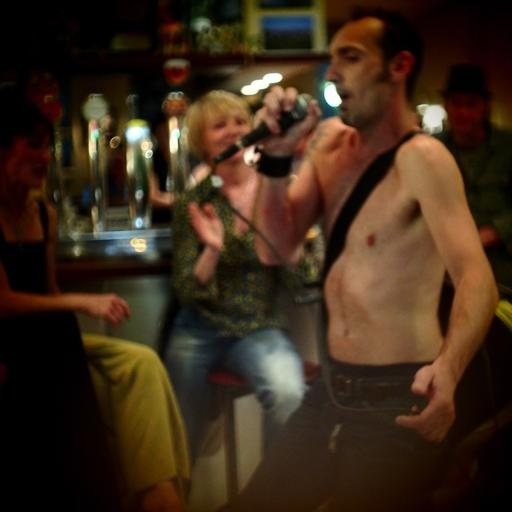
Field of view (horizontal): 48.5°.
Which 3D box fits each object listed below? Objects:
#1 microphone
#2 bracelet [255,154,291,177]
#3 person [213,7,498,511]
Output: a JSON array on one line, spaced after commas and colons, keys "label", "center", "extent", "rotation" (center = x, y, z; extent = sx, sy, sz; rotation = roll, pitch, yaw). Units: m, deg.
[{"label": "microphone", "center": [0.008, -0.198, 0.889], "extent": [0.155, 0.101, 0.081], "rotation": [-4, 15, -5]}, {"label": "bracelet", "center": [0.030, -0.153, 0.970], "extent": [0.040, 0.032, 0.041], "rotation": [3, 2, -16]}, {"label": "person", "center": [0.184, 0.078, 1.027], "extent": [0.290, 0.983, 0.431], "rotation": [-15, 19, -39]}]
